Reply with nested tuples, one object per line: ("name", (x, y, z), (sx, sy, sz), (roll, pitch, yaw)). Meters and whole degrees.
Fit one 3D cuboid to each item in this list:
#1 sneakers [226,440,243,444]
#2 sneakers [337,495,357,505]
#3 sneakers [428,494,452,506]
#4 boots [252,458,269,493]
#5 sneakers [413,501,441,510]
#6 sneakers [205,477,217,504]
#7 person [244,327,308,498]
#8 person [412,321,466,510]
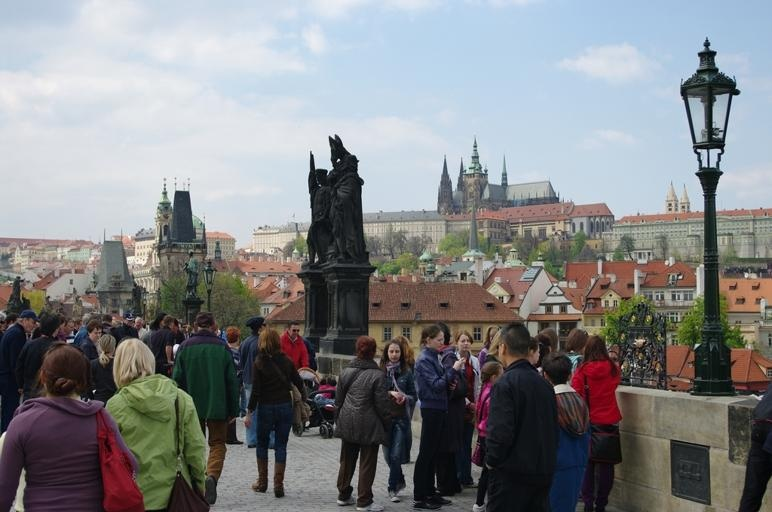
("sneakers", (-2.342, 2.841, 21.781), (0.241, 0.098, 0.080), (1, -1, -13))
("sneakers", (-0.487, 3.045, 17.661), (0.229, 0.117, 0.232), (-1, 0, -5))
("sneakers", (0.696, 3.080, 17.883), (0.350, 0.132, 0.116), (1, -3, 4))
("boots", (-1.634, 2.823, 18.263), (0.195, 0.429, 0.242), (-1, 0, -11))
("sneakers", (0.527, 3.099, 17.644), (0.344, 0.132, 0.128), (0, -3, 4))
("sneakers", (-1.942, 2.575, 15.580), (0.103, 0.293, 0.127), (0, -3, -4))
("person", (-1.451, 2.032, 18.599), (0.885, 2.170, 0.764), (0, -4, -8))
("person", (0.645, 2.006, 17.957), (0.564, 2.261, 0.919), (-1, 0, 30))
